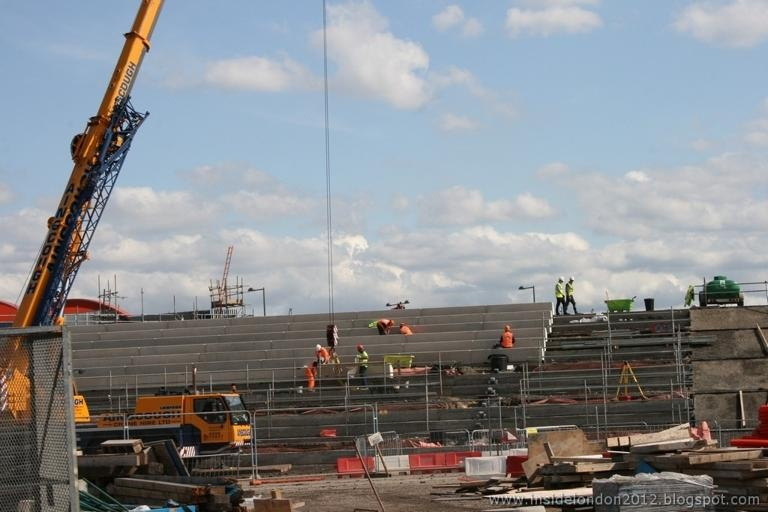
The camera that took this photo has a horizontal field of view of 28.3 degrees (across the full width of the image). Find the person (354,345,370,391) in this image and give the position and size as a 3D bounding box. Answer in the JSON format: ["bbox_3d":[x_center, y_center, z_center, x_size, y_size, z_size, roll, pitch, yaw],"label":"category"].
[{"bbox_3d":[-0.956,4.421,60.691,0.623,1.509,1.401,-18,5,-2],"label":"person"}]

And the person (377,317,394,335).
[{"bbox_3d":[-0.089,3.144,66.289,0.806,0.729,0.677,-2,1,-14],"label":"person"}]

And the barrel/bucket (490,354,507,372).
[{"bbox_3d":[4.608,4.318,61.004,0.792,0.479,0.657,2,-12,-7],"label":"barrel/bucket"}]

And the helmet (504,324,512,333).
[{"bbox_3d":[5.057,3.079,63.337,0.375,0.308,0.364,1,0,12],"label":"helmet"}]

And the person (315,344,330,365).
[{"bbox_3d":[-2.542,4.078,62.373,0.460,0.342,0.994,-2,18,-9],"label":"person"}]

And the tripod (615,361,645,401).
[{"bbox_3d":[9.371,4.893,58.715,1.504,1.516,1.411,-3,-2,24],"label":"tripod"}]
